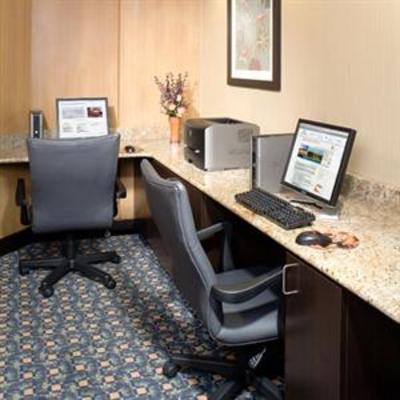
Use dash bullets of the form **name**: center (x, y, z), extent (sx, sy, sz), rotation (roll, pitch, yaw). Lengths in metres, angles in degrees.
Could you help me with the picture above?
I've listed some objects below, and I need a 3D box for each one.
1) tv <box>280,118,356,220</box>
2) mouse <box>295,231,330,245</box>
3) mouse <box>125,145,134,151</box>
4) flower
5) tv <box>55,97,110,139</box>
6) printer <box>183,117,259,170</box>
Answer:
- **tv**: center (0.553, -0.138, 1.656), extent (0.205, 0.397, 0.407), rotation (-7, 18, -18)
- **mouse**: center (0.381, 0.116, 1.206), extent (0.089, 0.031, 0.052), rotation (-4, 14, -2)
- **mouse**: center (-0.647, -0.484, 3.319), extent (0.050, 0.032, 0.093), rotation (-2, 16, -14)
- **flower**: center (-0.291, -1.109, 3.710), extent (0.394, 0.498, 0.526), rotation (0, 13, -2)
- **tv**: center (-1.163, -0.816, 3.525), extent (0.597, 0.505, 0.064), rotation (-1, -1, -8)
- **printer**: center (0.152, -0.406, 2.606), extent (0.383, 0.286, 0.539), rotation (-3, 13, -14)
